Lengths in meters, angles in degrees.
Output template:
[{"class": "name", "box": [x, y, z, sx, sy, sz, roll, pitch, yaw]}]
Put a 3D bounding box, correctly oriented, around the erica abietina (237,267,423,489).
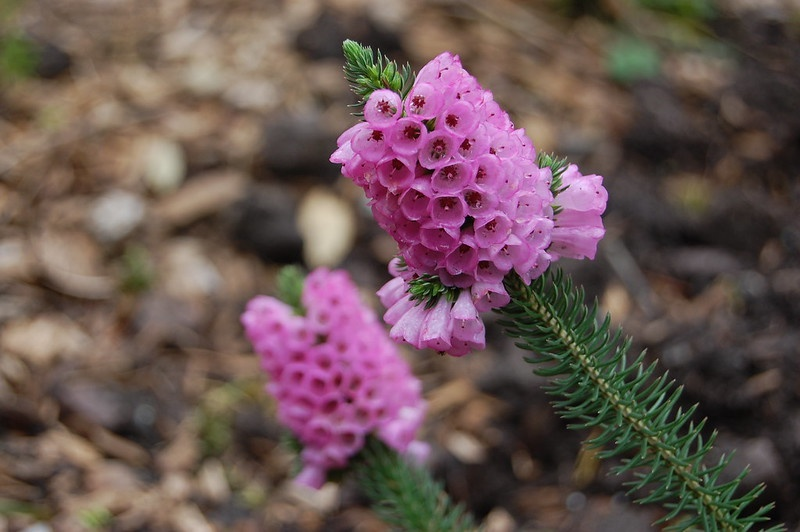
[{"class": "erica abietina", "box": [-0.356, 0.604, 5.189, 0.669, 0.680, 1.118, -34, 99, 11]}]
